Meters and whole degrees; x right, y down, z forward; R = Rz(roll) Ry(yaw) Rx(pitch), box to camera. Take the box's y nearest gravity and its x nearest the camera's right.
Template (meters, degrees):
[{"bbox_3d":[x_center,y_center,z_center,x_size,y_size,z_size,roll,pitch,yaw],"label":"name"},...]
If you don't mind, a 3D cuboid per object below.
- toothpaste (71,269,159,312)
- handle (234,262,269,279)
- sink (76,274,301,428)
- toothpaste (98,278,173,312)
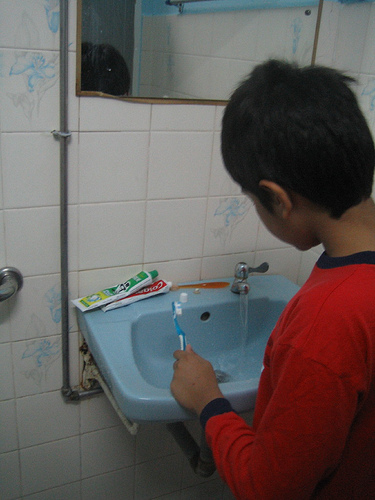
[{"bbox_3d":[-0.202,0.102,1.106,0.245,0.076,0.037,-24,50,-5],"label":"toothpaste"},{"bbox_3d":[0.186,0.059,1.142,0.097,0.052,0.044,0,25,3],"label":"handle"},{"bbox_3d":[0.085,0.293,1.080,0.678,0.200,0.475,-4,20,-24],"label":"sink"},{"bbox_3d":[-0.174,0.089,1.177,0.208,0.072,0.191,-12,28,-26],"label":"toothpaste"}]
